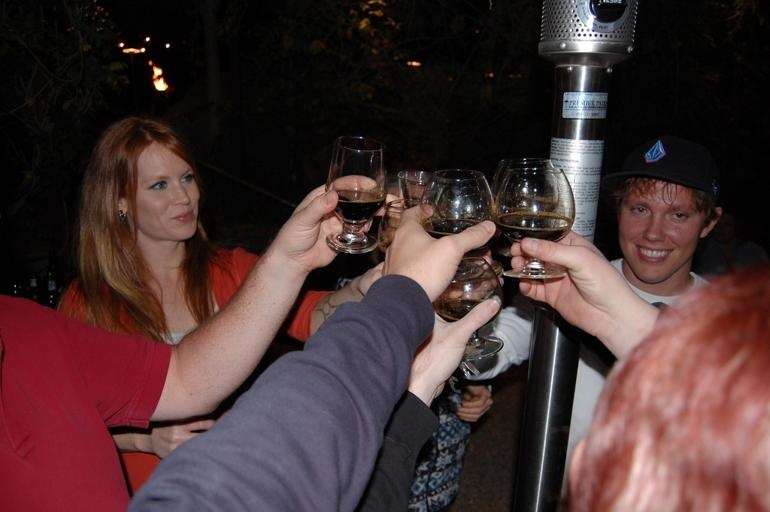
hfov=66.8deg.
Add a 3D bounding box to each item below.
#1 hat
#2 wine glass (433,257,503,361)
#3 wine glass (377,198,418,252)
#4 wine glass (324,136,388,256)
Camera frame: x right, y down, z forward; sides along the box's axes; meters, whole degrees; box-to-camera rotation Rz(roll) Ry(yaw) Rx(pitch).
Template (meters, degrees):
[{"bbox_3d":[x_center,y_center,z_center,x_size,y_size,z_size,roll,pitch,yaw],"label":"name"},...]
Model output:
[{"bbox_3d":[1.314,-0.397,2.734,0.394,0.178,0.286,20,1,-18],"label":"hat"},{"bbox_3d":[0.280,0.175,1.882,0.194,0.363,0.456,8,11,15],"label":"wine glass"},{"bbox_3d":[0.022,-0.114,1.993,0.166,0.207,0.170,3,5,-2],"label":"wine glass"},{"bbox_3d":[-0.097,-0.222,2.071,0.209,0.398,0.379,5,11,-2],"label":"wine glass"}]
